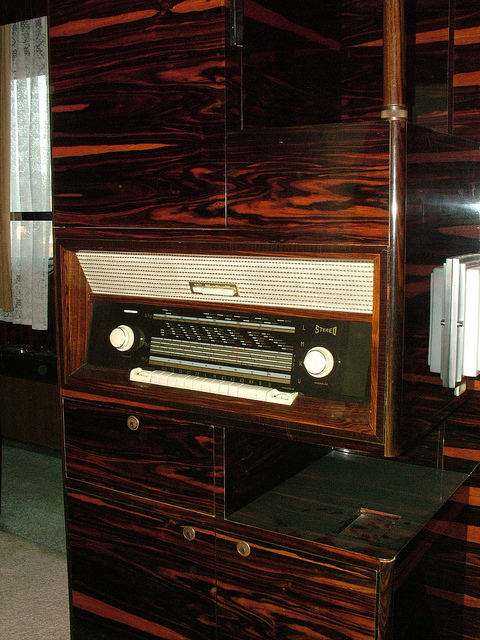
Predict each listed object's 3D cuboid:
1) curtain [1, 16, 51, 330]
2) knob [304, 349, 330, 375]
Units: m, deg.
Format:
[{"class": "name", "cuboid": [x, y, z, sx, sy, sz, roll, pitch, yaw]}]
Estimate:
[{"class": "curtain", "cuboid": [-1.197, -0.804, 3.112, 0.150, 1.706, 0.467, -2, 6, -43]}, {"class": "knob", "cuboid": [0.111, 0.062, 0.801, 0.034, 0.036, 0.020, 5, 5, 38]}]
